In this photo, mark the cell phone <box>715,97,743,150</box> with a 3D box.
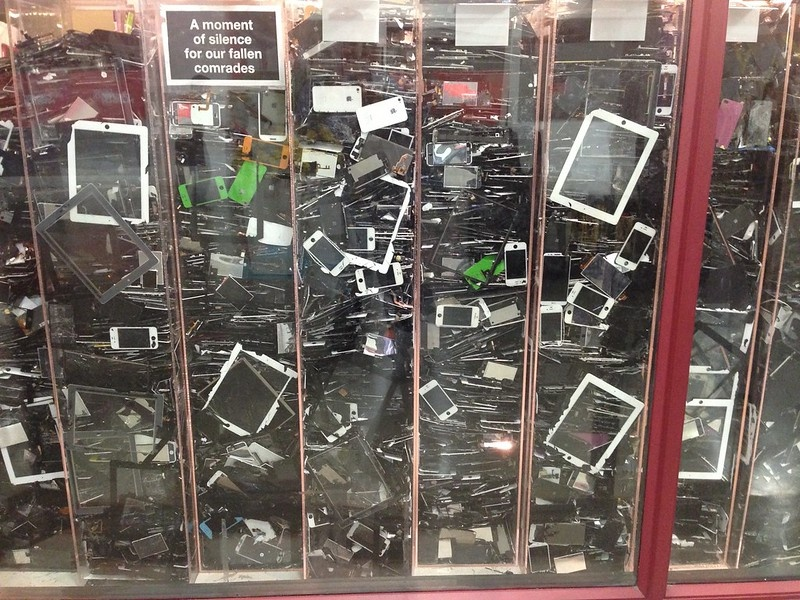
[{"bbox_3d":[1.141,-0.648,2.999,0.121,0.235,0.021,-8,10,-35],"label":"cell phone"}]

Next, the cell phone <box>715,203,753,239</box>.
[{"bbox_3d":[1.201,-0.292,3.051,0.148,0.099,0.033,-37,9,4],"label":"cell phone"}]

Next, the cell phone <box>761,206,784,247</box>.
[{"bbox_3d":[1.339,-0.261,3.056,0.087,0.130,0.017,-2,7,-12],"label":"cell phone"}]

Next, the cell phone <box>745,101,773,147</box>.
[{"bbox_3d":[1.272,-0.624,3.005,0.092,0.163,0.009,-1,7,-4],"label":"cell phone"}]

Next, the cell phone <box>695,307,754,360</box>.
[{"bbox_3d":[1.193,0.113,3.050,0.175,0.169,0.047,6,7,1],"label":"cell phone"}]
